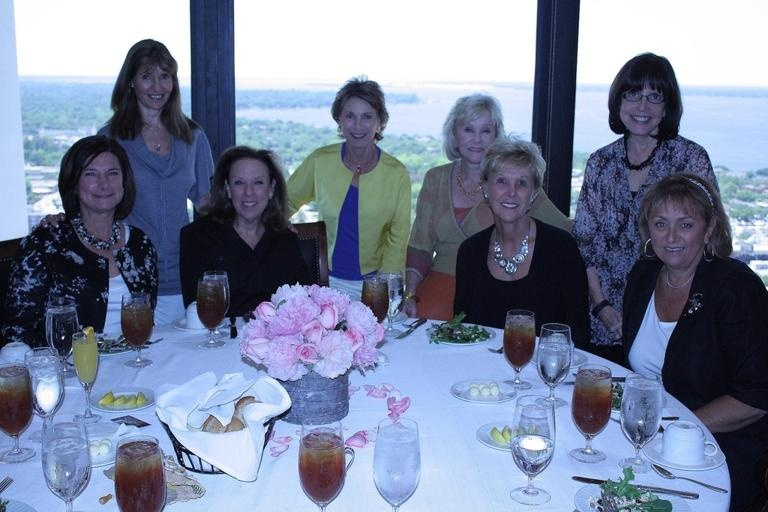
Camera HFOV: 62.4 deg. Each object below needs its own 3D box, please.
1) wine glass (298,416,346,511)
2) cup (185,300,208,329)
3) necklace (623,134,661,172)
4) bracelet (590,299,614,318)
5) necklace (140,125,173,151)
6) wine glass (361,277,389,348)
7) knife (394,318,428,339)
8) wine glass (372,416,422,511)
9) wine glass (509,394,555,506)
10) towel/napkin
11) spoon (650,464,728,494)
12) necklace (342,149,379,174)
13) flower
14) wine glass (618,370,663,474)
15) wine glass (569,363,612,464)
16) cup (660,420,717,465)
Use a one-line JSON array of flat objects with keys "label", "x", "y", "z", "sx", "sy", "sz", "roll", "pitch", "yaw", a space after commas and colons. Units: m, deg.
[{"label": "wine glass", "x": -0.175, "y": 0.583, "z": 1.772, "sx": 0.122, "sy": 0.189, "sz": 0.102, "roll": -2, "pitch": 12, "yaw": -9}, {"label": "cup", "x": -0.869, "y": 0.266, "z": 2.960, "sx": 0.122, "sy": 0.126, "sz": 0.126, "roll": 1, "pitch": 3, "yaw": 0}, {"label": "necklace", "x": 1.430, "y": -0.562, "z": 3.550, "sx": 0.152, "sy": 0.222, "sz": 0.064, "roll": 4, "pitch": 11, "yaw": 19}, {"label": "bracelet", "x": 1.254, "y": 0.290, "z": 3.702, "sx": 0.108, "sy": 0.122, "sz": 0.075, "roll": 20, "pitch": 28, "yaw": -50}, {"label": "necklace", "x": -1.401, "y": -0.710, "z": 3.912, "sx": 0.124, "sy": 0.182, "sz": 0.058, "roll": -28, "pitch": 5, "yaw": -36}, {"label": "wine glass", "x": -0.043, "y": 0.248, "z": 2.761, "sx": 0.127, "sy": 0.328, "sz": 0.123, "roll": 2, "pitch": 15, "yaw": -3}, {"label": "knife", "x": 0.129, "y": 0.335, "z": 2.938, "sx": 0.050, "sy": 0.033, "sz": 0.266, "roll": 9, "pitch": 15, "yaw": 17}, {"label": "wine glass", "x": 0.035, "y": 0.600, "z": 1.802, "sx": 0.125, "sy": 0.252, "sz": 0.160, "roll": 0, "pitch": 12, "yaw": 0}, {"label": "wine glass", "x": 0.450, "y": 0.559, "z": 1.921, "sx": 0.119, "sy": 0.285, "sz": 0.228, "roll": 3, "pitch": 13, "yaw": 15}, {"label": "towel/napkin", "x": -0.518, "y": 0.490, "z": 1.945, "sx": 0.320, "sy": 0.136, "sz": 0.331, "roll": 17, "pitch": 32, "yaw": 12}, {"label": "spoon", "x": 0.929, "y": 0.681, "z": 1.936, "sx": 0.165, "sy": 0.025, "sz": 0.027, "roll": 8, "pitch": 17, "yaw": 30}, {"label": "necklace", "x": -0.149, "y": -0.595, "z": 4.071, "sx": 0.254, "sy": 0.160, "sz": 0.107, "roll": -1, "pitch": 12, "yaw": -5}, {"label": "flower", "x": -0.217, "y": 0.279, "z": 2.150, "sx": 0.313, "sy": 0.198, "sz": 0.329, "roll": -1, "pitch": 5, "yaw": -6}, {"label": "wine glass", "x": 0.817, "y": 0.514, "z": 2.027, "sx": 0.116, "sy": 0.277, "sz": 0.210, "roll": 6, "pitch": 14, "yaw": 27}, {"label": "wine glass", "x": 0.673, "y": 0.496, "z": 2.070, "sx": 0.117, "sy": 0.279, "sz": 0.196, "roll": 4, "pitch": 13, "yaw": 18}, {"label": "cup", "x": 0.981, "y": 0.599, "z": 2.042, "sx": 0.165, "sy": 0.115, "sz": 0.128, "roll": 6, "pitch": 13, "yaw": 24}]
